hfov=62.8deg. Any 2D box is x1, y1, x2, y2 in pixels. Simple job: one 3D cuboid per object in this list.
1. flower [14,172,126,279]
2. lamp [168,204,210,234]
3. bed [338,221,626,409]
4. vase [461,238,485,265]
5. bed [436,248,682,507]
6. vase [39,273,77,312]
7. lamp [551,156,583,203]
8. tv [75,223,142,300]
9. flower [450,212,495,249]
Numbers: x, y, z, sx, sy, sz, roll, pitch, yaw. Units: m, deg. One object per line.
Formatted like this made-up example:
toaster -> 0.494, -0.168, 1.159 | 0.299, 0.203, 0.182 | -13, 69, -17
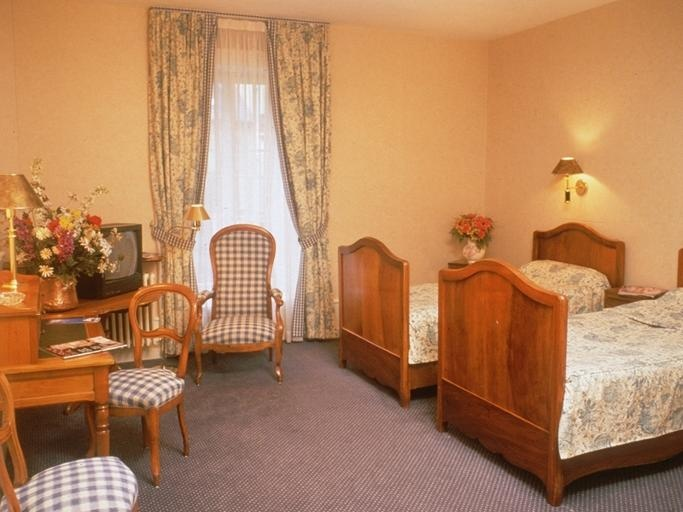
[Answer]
flower -> -2.085, -0.130, 4.561 | 0.922, 1.056, 0.782 | 6, 7, 30
lamp -> -1.536, -0.403, 5.838 | 0.345, 0.382, 0.366 | 8, 13, 21
bed -> 1.379, 0.355, 6.054 | 2.604, 1.846, 1.637 | -2, 6, -21
vase -> 1.602, -0.065, 6.822 | 0.275, 0.344, 0.290 | 2, 7, -4
bed -> 1.804, 0.694, 4.375 | 1.873, 1.332, 1.209 | -8, 13, -33
vase -> -2.233, 0.275, 4.473 | 0.287, 0.296, 0.282 | 3, -2, -43
lamp -> 2.526, -0.870, 6.365 | 0.369, 0.533, 0.363 | 10, 16, 40
tv -> -2.029, 0.066, 4.827 | 0.304, 0.612, 0.623 | 1, 4, 15
flower -> 1.706, -0.336, 7.264 | 0.493, 0.456, 0.549 | 14, 13, 41
